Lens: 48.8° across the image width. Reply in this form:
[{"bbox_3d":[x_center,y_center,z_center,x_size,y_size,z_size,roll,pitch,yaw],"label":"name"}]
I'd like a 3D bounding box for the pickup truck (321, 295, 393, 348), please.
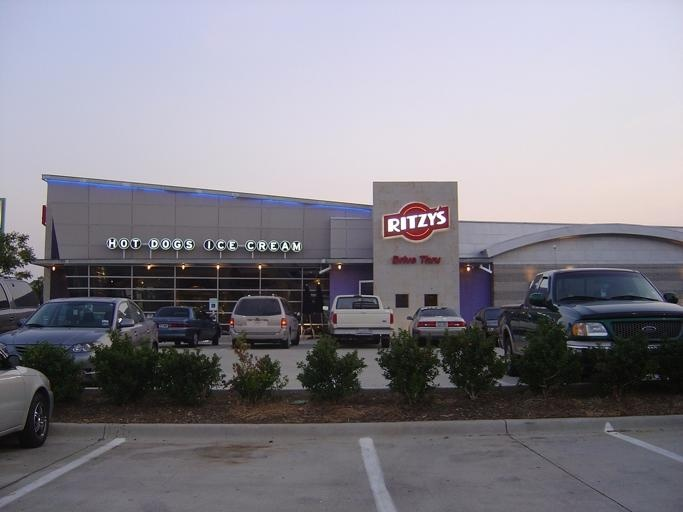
[{"bbox_3d":[0.602,2.421,26.930,2.158,1.828,2.296,-1,7,-1],"label":"pickup truck"}]

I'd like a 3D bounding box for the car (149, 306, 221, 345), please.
[{"bbox_3d":[-5.879,2.702,29.084,1.313,0.779,2.565,-2,-9,9],"label":"car"}]

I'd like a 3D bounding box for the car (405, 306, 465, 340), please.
[{"bbox_3d":[3.343,2.537,27.626,1.486,0.876,2.850,-1,-1,0],"label":"car"}]

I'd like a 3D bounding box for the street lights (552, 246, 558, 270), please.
[{"bbox_3d":[10.889,-0.025,38.841,0.276,1.183,0.372,-2,9,-3],"label":"street lights"}]
